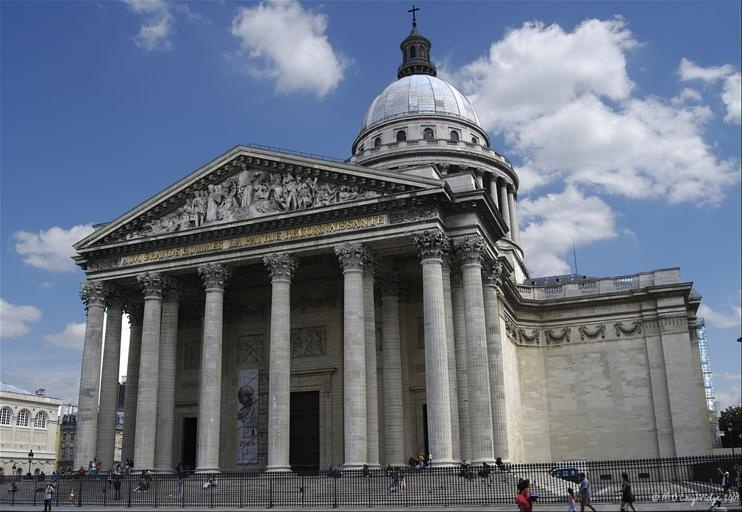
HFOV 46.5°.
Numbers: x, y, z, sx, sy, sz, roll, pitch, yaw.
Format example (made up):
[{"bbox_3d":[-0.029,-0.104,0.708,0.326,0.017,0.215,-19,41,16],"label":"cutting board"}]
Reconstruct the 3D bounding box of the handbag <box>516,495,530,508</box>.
[{"bbox_3d":[7.256,11.758,41.292,0.626,0.610,0.679,-6,-20,7],"label":"handbag"}]
